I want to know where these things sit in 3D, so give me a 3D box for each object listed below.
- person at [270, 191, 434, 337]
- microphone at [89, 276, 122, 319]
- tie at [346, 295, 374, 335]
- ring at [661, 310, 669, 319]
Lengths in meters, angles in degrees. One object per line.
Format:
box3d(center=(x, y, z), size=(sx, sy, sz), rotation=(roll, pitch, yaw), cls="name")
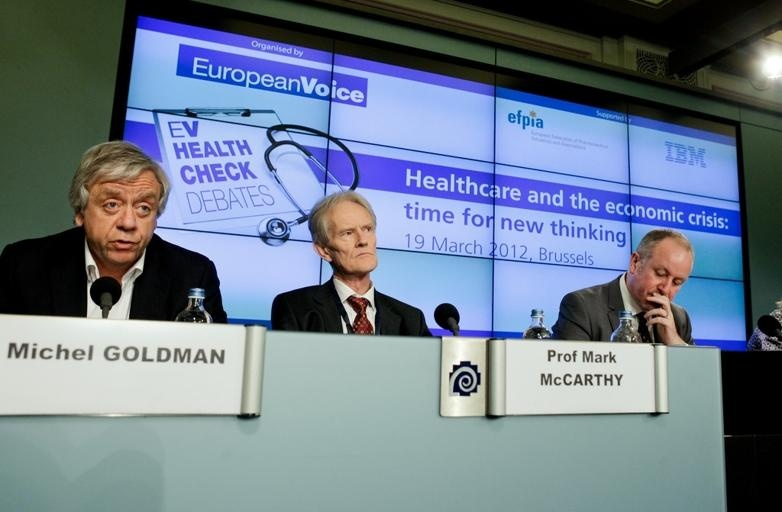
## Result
box3d(center=(-0.259, 0.052, 4.312), size=(0.794, 0.751, 0.392), rotation=(10, -37, -23), cls="person")
box3d(center=(-1.158, 0.175, 3.044), size=(0.105, 0.106, 0.167), rotation=(-2, 38, -17), cls="microphone")
box3d(center=(-0.147, 0.285, 3.684), size=(0.123, 0.174, 0.094), rotation=(2, -7, -11), cls="tie")
box3d(center=(1.472, 0.311, 4.006), size=(0.017, 0.036, 0.048), rotation=(-40, -12, 26), cls="ring")
